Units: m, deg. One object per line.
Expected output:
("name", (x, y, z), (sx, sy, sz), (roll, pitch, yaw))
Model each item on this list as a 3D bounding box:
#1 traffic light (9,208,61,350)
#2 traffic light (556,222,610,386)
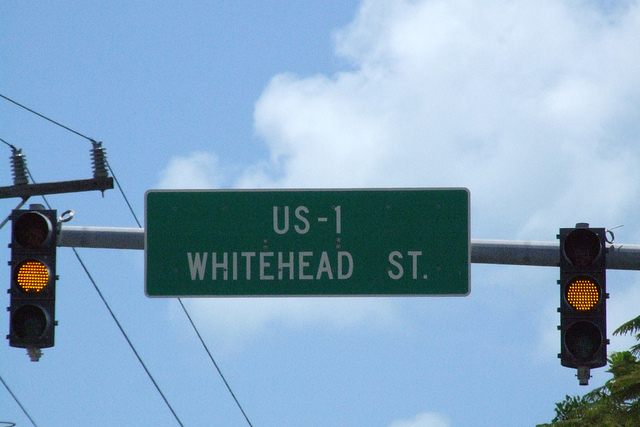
("traffic light", (-5.177, 1.219, 28.137), (0.855, 2.294, 1.241), (1, -32, -11))
("traffic light", (4.829, 1.560, 27.697), (0.806, 2.833, 0.825), (3, -3, -7))
